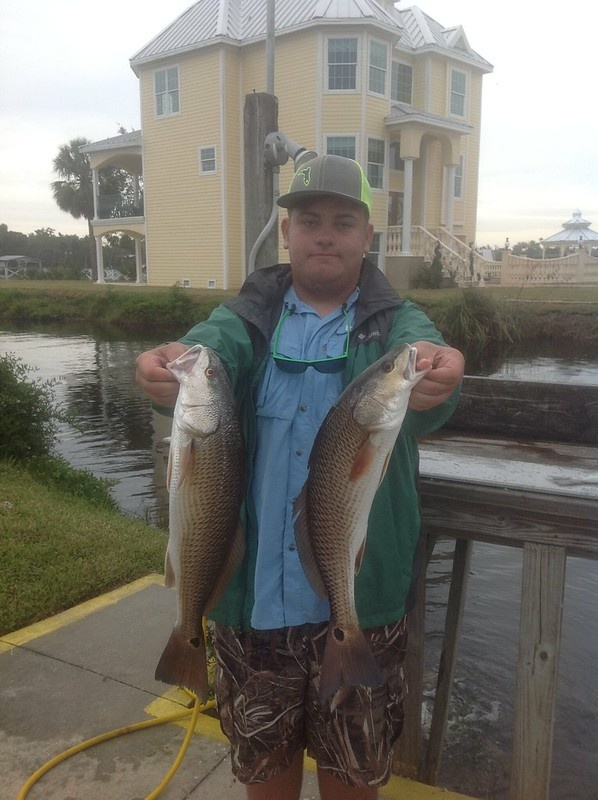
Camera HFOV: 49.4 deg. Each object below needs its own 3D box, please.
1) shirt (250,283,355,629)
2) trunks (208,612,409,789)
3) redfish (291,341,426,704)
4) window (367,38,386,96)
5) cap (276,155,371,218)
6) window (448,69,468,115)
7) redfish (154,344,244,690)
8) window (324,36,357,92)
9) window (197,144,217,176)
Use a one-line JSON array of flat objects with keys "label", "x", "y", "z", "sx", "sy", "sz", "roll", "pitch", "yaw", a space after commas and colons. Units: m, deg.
[{"label": "shirt", "x": 0.035, "y": 0.175, "z": 1.960, "sx": 0.344, "sy": 0.913, "sz": 0.266, "roll": 10, "pitch": -5, "yaw": 23}, {"label": "trunks", "x": -0.006, "y": 0.836, "z": 2.179, "sx": 0.748, "sy": 0.436, "sz": 0.778, "roll": 0, "pitch": 6, "yaw": 8}, {"label": "redfish", "x": 0.121, "y": 0.294, "z": 1.595, "sx": 0.166, "sy": 0.881, "sz": 0.331, "roll": 2, "pitch": 8, "yaw": -20}, {"label": "window", "x": 2.733, "y": -11.260, "z": 22.045, "sx": 0.212, "sy": 1.613, "sz": 1.061, "roll": 11, "pitch": 9, "yaw": 39}, {"label": "cap", "x": 0.084, "y": -0.626, "z": 1.897, "sx": 0.236, "sy": 0.163, "sz": 0.325, "roll": 3, "pitch": 9, "yaw": 19}, {"label": "window", "x": 6.372, "y": -12.353, "z": 25.982, "sx": 0.079, "sy": 2.036, "sz": 1.464, "roll": 9, "pitch": 24, "yaw": 38}, {"label": "redfish", "x": -0.250, "y": 0.341, "z": 1.721, "sx": 0.214, "sy": 0.972, "sz": 0.236, "roll": 4, "pitch": 8, "yaw": -8}, {"label": "window", "x": 1.455, "y": -11.063, "z": 21.437, "sx": 0.991, "sy": 1.777, "sz": 0.078, "roll": 0, "pitch": 2, "yaw": 1}, {"label": "window", "x": -3.316, "y": -8.787, "z": 23.753, "sx": 1.130, "sy": 1.428, "sz": 0.092, "roll": 10, "pitch": 12, "yaw": 43}]
